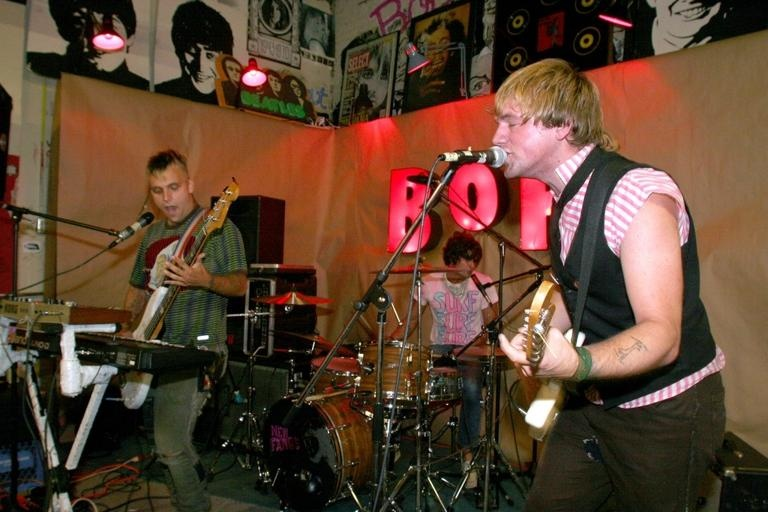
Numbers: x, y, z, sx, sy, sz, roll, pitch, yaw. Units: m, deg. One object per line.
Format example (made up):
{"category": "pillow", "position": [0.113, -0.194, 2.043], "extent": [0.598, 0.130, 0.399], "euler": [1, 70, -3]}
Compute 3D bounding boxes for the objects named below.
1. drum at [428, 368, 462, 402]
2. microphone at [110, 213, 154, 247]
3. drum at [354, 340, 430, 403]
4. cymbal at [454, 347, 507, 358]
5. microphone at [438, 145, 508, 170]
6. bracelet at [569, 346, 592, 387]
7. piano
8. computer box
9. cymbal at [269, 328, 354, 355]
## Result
{"category": "drum", "position": [0.486, 1.067, 5.398], "extent": [0.277, 0.169, 0.280], "euler": [1, -5, 0]}
{"category": "microphone", "position": [-2.248, -0.228, 5.828], "extent": [0.122, 0.122, 0.617], "euler": [-54, -3, 30]}
{"category": "drum", "position": [0.027, 0.901, 5.195], "extent": [0.584, 0.433, 0.595], "euler": [4, -10, 1]}
{"category": "cymbal", "position": [0.798, 0.793, 5.388], "extent": [0.281, 0.065, 0.282], "euler": [-1, -6, 30]}
{"category": "microphone", "position": [0.536, -0.589, 3.840], "extent": [0.399, 0.146, 0.151], "euler": [-7, -6, -17]}
{"category": "bracelet", "position": [0.981, 0.540, 3.251], "extent": [0.112, 0.152, 0.149], "euler": [-2, 21, -9]}
{"category": "piano", "position": [-1.792, 0.600, 4.274], "extent": [1.316, 0.333, 0.414], "euler": [-5, -7, 17]}
{"category": "computer box", "position": [-1.056, 0.630, 6.729], "extent": [0.861, 1.034, 0.590], "euler": [4, -7, -28]}
{"category": "cymbal", "position": [-0.709, 0.814, 6.172], "extent": [0.441, 0.110, 0.455], "euler": [22, -3, -38]}
